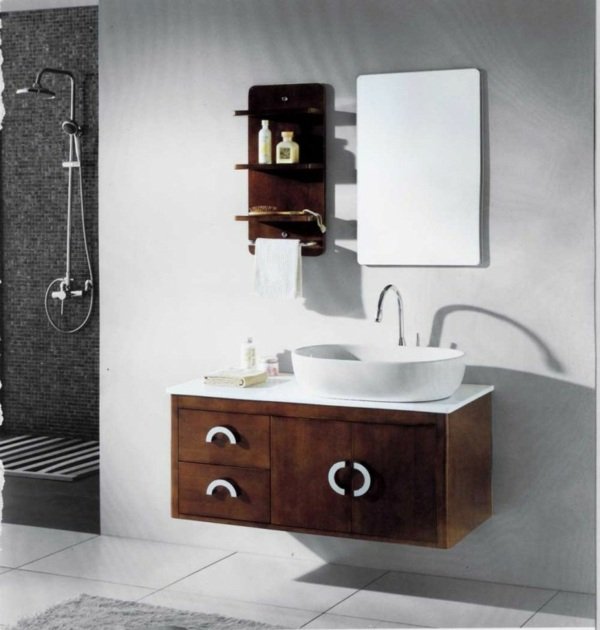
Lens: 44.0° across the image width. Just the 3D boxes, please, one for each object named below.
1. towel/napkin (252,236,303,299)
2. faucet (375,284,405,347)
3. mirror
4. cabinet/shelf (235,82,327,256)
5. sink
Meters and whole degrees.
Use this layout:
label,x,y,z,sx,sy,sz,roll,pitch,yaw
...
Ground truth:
label,x,y,z,sx,sy,sz,roll,pitch,yaw
towel/napkin,-0.076,-0.173,2.727,0.181,0.226,0.080,6,15,24
faucet,0.314,0.001,2.592,0.107,0.219,0.243,0,4,7
mirror,0.417,-0.515,2.635,0.440,0.715,0.049,0,-9,6
cabinet/shelf,-0.068,-0.548,2.778,0.336,0.656,0.225,0,3,1
sink,0.242,0.187,2.401,0.551,0.135,0.456,0,4,11
